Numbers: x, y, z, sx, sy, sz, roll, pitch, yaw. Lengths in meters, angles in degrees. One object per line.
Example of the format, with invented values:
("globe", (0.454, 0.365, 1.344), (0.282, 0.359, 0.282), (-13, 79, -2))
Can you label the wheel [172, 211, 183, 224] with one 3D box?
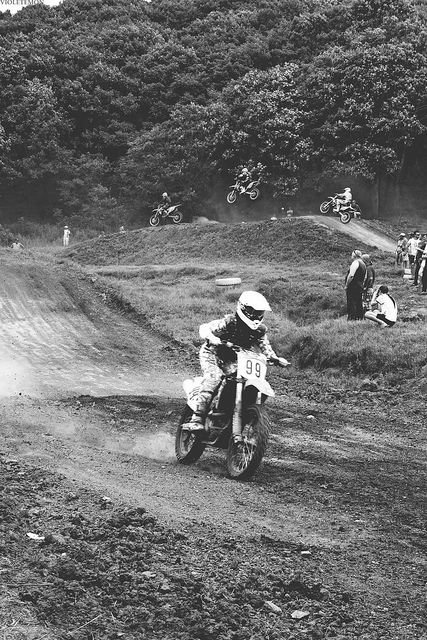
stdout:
("wheel", (-1.582, -4.407, 38.148), (0.406, 0.493, 1.582), (-5, 10, -3))

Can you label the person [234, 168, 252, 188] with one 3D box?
("person", (1.387, -5.957, 36.990), (0.544, 0.770, 1.176), (9, 15, -19))

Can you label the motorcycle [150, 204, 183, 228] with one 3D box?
("motorcycle", (-2.102, -4.581, 38.622), (1.340, 0.935, 2.466), (-5, 10, -1))

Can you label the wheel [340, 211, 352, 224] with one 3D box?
("wheel", (4.601, -3.407, 29.754), (0.338, 0.425, 0.355), (-5, 9, 1))

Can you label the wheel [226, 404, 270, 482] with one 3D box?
("wheel", (0.305, 1.091, 7.508), (0.374, 0.647, 0.595), (-5, 10, 0))

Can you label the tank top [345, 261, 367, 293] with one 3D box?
("tank top", (2.734, -0.749, 16.178), (0.312, 0.623, 0.406), (-5, 9, -2))

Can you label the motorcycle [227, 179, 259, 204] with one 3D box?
("motorcycle", (1.378, -5.162, 35.493), (1.547, 1.089, 0.849), (-2, 1, -1))

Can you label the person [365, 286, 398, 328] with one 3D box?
("person", (3.109, -0.220, 15.923), (0.542, 0.635, 1.682), (-3, 10, 10))

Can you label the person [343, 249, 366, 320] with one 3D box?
("person", (2.732, -0.592, 16.338), (0.390, 1.318, 0.794), (-3, 9, 9))

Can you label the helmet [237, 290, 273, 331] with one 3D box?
("helmet", (0.408, -0.061, 7.953), (0.252, 0.357, 0.336), (4, 5, -36))

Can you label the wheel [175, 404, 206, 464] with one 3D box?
("wheel", (-0.231, 1.112, 8.212), (0.262, 0.523, 0.638), (-6, 10, -6))

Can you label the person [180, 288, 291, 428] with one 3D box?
("person", (0.192, 0.426, 8.041), (0.669, 1.468, 0.685), (13, -7, -10))

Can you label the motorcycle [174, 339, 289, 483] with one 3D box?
("motorcycle", (0.210, 0.901, 7.980), (0.601, 0.930, 1.489), (17, -11, -12))
